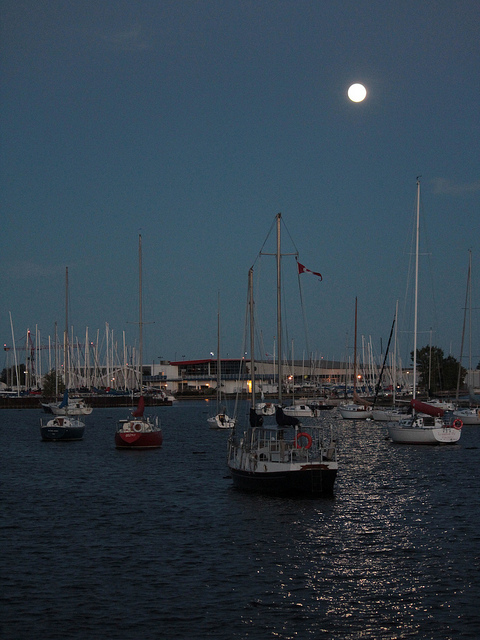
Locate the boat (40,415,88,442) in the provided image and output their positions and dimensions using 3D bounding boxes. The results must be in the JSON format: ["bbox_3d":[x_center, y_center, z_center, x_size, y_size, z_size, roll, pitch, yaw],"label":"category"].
[{"bbox_3d":[-12.437,7.670,80.490,2.616,1.515,3.705,-1,-1,31],"label":"boat"}]

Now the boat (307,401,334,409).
[{"bbox_3d":[9.317,9.952,134.590,0.748,1.237,3.076,3,-8,-34],"label":"boat"}]

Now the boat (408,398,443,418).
[{"bbox_3d":[11.887,5.596,72.675,1.741,1.249,5.490,0,-1,13],"label":"boat"}]

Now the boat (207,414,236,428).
[{"bbox_3d":[-1.450,8.225,93.216,2.652,1.161,1.375,-1,-1,33],"label":"boat"}]

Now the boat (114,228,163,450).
[{"bbox_3d":[-6.452,1.632,72.089,1.789,13.282,6.439,1,0,2],"label":"boat"}]

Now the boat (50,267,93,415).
[{"bbox_3d":[-16.154,2.469,110.277,2.213,14.576,4.970,-4,9,-43],"label":"boat"}]

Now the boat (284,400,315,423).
[{"bbox_3d":[5.568,8.279,104.299,2.788,3.243,5.743,0,-5,-2],"label":"boat"}]
